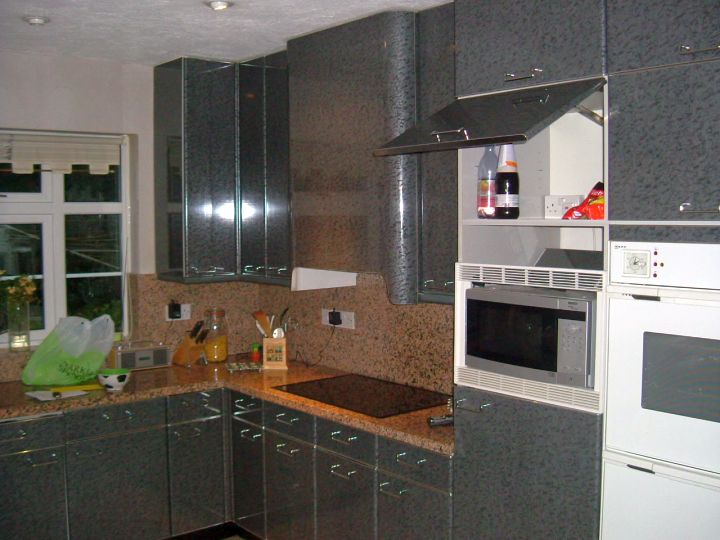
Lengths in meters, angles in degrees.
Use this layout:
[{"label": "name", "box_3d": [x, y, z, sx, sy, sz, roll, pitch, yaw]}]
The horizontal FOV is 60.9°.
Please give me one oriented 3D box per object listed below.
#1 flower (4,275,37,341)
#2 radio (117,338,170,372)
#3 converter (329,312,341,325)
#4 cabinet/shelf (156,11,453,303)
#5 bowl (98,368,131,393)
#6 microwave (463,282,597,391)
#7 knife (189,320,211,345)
[{"label": "flower", "box_3d": [-2.076, 0.251, 3.773, 0.173, 0.435, 0.231, -3, 3, -26]}, {"label": "radio", "box_3d": [-1.414, 0.550, 3.949, 0.338, 0.170, 0.260, -3, 3, -30]}, {"label": "converter", "box_3d": [-0.159, 0.307, 3.875, 0.083, 0.072, 0.019, 3, -1, 42]}, {"label": "cabinet/shelf", "box_3d": [-0.295, -0.651, 3.282, 0.552, 0.961, 1.699, -1, 3, -40]}, {"label": "bowl", "box_3d": [-1.391, 0.624, 3.484, 0.150, 0.077, 0.143, 0, 3, 0]}, {"label": "microwave", "box_3d": [0.751, 0.252, 2.411, 0.342, 0.344, 0.612, -2, 3, -31]}, {"label": "knife", "box_3d": [-1.064, 0.405, 4.045, 0.103, 0.170, 0.039, 4, 29, -23]}]
